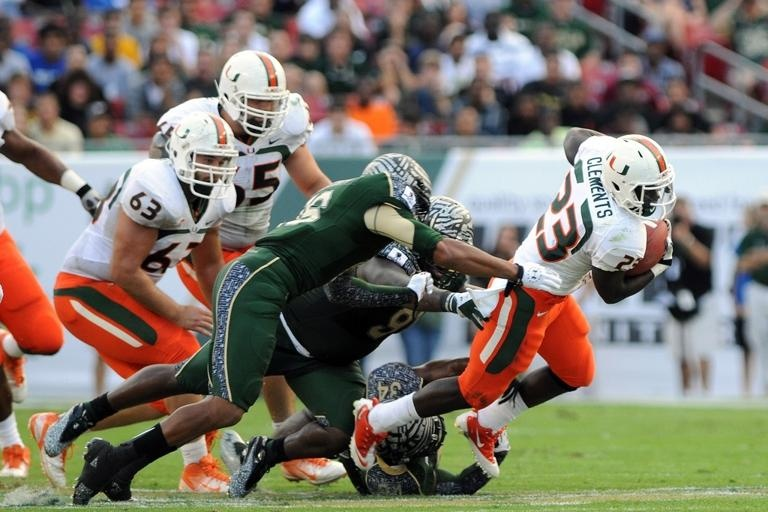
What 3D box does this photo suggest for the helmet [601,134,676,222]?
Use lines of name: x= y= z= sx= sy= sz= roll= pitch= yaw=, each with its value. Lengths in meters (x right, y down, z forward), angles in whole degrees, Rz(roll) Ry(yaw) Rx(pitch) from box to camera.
helmet: x=1.614 y=-0.506 z=6.754 sx=0.364 sy=0.511 sz=0.299 roll=9 pitch=11 yaw=39

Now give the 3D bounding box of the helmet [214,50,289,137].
helmet: x=-0.882 y=-1.071 z=6.970 sx=0.433 sy=0.514 sz=0.595 roll=-12 pitch=27 yaw=-40

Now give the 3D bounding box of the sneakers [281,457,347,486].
sneakers: x=-0.456 y=1.423 z=6.987 sx=0.495 sy=0.221 sz=0.180 roll=-1 pitch=1 yaw=2

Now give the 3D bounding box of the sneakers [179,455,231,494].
sneakers: x=-1.088 y=1.427 z=6.831 sx=0.455 sy=0.180 sz=0.148 roll=4 pitch=4 yaw=-14

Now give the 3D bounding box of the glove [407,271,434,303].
glove: x=0.240 y=0.179 z=6.511 sx=0.083 sy=0.143 sz=0.177 roll=8 pitch=-40 yaw=-42

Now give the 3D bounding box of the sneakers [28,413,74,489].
sneakers: x=-2.115 y=1.245 z=6.727 sx=0.234 sy=0.498 sz=0.172 roll=-30 pitch=-7 yaw=4

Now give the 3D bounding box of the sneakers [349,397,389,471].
sneakers: x=-0.075 y=1.121 z=6.730 sx=0.243 sy=0.480 sz=0.174 roll=1 pitch=7 yaw=30

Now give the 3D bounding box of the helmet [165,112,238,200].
helmet: x=-1.118 y=-0.629 z=6.498 sx=0.409 sy=0.446 sz=0.536 roll=0 pitch=16 yaw=-38

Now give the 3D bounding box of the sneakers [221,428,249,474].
sneakers: x=-0.992 y=1.270 z=6.991 sx=0.162 sy=0.352 sz=0.141 roll=-11 pitch=-20 yaw=-11

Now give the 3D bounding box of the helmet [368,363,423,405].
helmet: x=0.067 y=0.817 z=6.875 sx=0.271 sy=0.286 sz=0.212 roll=24 pitch=27 yaw=-19

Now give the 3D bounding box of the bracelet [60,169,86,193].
bracelet: x=-2.119 y=-0.526 z=7.286 sx=0.165 sy=0.143 sz=0.185 roll=32 pitch=-15 yaw=-21

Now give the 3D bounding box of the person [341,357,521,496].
person: x=0.304 y=1.306 z=6.951 sx=1.036 sy=0.746 sz=0.399 roll=9 pitch=-12 yaw=4

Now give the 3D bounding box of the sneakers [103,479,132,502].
sneakers: x=-1.594 y=1.411 z=6.324 sx=0.162 sy=0.120 sz=0.120 roll=-1 pitch=11 yaw=-27

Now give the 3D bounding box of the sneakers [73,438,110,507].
sneakers: x=-1.750 y=1.274 z=6.381 sx=0.214 sy=0.446 sz=0.155 roll=17 pitch=-2 yaw=-8
